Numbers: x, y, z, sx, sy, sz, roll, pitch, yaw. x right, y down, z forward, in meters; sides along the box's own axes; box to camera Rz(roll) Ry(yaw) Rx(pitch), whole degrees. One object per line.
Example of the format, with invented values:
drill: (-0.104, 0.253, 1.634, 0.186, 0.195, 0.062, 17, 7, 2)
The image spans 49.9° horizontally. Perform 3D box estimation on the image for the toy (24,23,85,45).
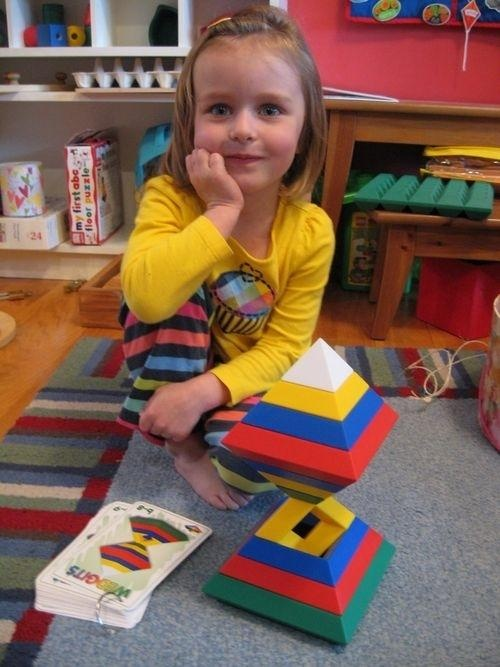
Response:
toy: (-0.582, -0.881, 1.600, 0.184, 0.067, 0.130, -3, 20, -13)

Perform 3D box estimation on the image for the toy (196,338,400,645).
toy: (0.073, 0.157, 0.628, 0.182, 0.318, 0.181, 11, 23, 25)
